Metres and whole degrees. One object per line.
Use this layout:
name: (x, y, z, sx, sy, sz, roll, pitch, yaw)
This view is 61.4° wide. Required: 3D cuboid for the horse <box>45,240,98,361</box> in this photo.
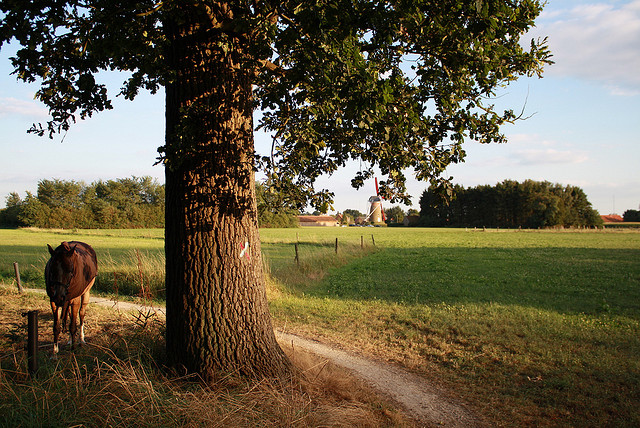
horse: (-6.003, 1.870, 12.926, 0.796, 2.629, 2.301, 0, 6, -13)
